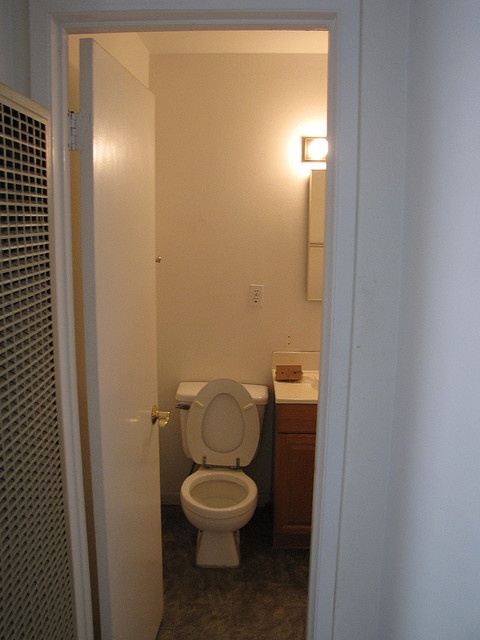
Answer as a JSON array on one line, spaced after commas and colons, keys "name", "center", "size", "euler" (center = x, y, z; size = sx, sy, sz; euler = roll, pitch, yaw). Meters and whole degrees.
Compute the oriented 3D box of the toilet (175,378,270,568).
[{"name": "toilet", "center": [-0.086, 0.683, 2.409], "size": [0.404, 0.776, 0.511], "euler": [1, 8, 2]}]
